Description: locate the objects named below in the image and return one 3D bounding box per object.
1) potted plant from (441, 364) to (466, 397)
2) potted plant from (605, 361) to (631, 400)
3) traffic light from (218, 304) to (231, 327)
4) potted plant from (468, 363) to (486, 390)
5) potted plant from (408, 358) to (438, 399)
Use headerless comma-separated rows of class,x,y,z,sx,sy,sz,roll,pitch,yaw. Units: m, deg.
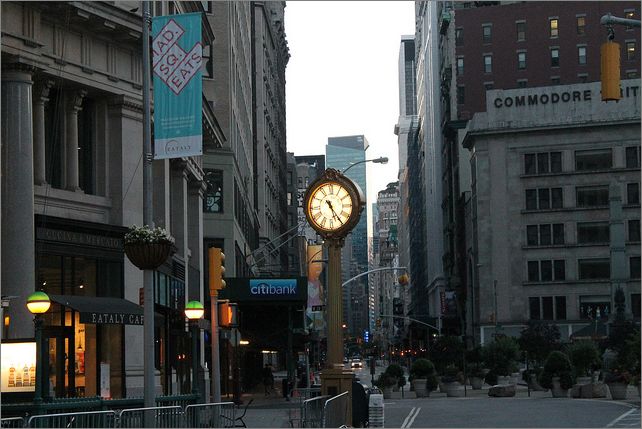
potted plant,11.255,13.417,117.356,2.233,3.051,2.287,1,-12,-6
potted plant,22.125,12.179,106.973,2.170,3.156,2.371,2,-7,-1
traffic light,-5.723,5.914,86.381,0.724,1.348,0.819,-1,-11,-10
potted plant,13.901,13.950,125.755,1.782,2.190,1.850,0,-11,-2
potted plant,8.240,13.120,116.968,1.968,3.171,1.874,2,-11,-24
